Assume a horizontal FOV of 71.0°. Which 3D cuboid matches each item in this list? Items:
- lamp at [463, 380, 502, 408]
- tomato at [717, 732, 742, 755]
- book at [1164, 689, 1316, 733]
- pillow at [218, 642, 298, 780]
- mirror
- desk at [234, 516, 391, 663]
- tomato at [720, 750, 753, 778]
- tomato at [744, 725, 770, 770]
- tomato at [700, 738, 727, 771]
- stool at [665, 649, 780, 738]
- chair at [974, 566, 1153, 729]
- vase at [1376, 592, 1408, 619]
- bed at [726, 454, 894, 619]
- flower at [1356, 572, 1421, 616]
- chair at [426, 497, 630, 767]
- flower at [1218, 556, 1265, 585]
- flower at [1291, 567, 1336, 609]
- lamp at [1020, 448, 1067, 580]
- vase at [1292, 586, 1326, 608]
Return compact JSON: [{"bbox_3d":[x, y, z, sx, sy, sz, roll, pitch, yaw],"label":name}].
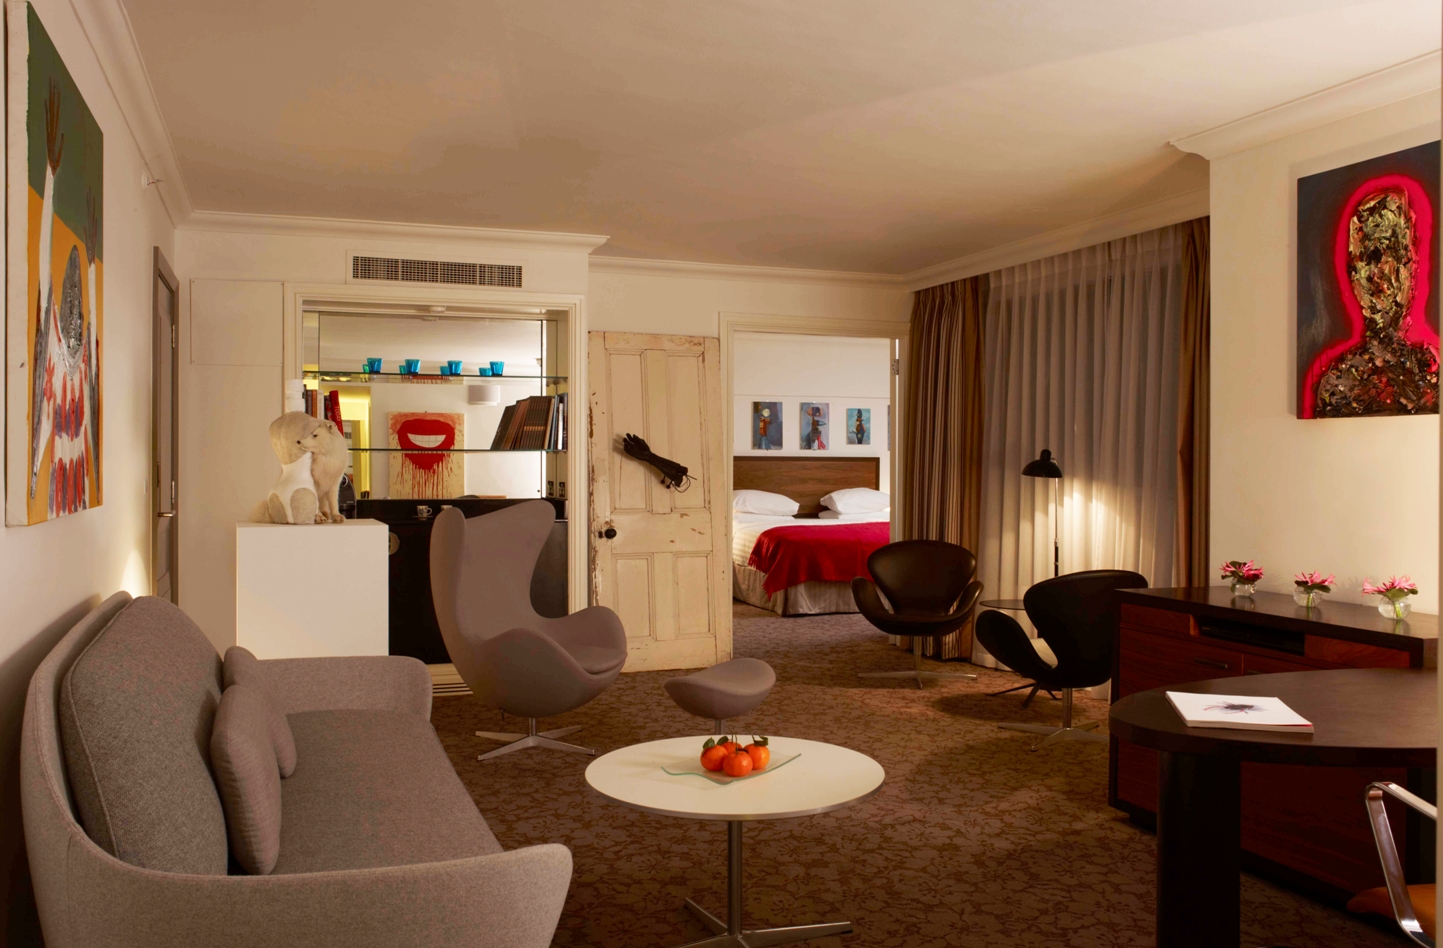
[{"bbox_3d":[-1.698,-0.567,7.210,0.202,0.119,0.194,1,-2,-10],"label":"lamp"},{"bbox_3d":[0.034,1.007,3.837,0.049,0.061,0.048,-4,-7,21],"label":"tomato"},{"bbox_3d":[1.614,0.733,3.182,0.376,0.016,0.346,1,7,7],"label":"book"},{"bbox_3d":[-1.613,0.846,3.592,0.134,0.395,0.425,-15,13,-12],"label":"pillow"},{"bbox_3d":[-2.074,-0.485,6.912,1.408,1.114,0.182,0,5,-9],"label":"mirror"},{"bbox_3d":[-1.946,0.516,4.937,0.731,0.650,0.674,0,0,-8],"label":"desk"},{"bbox_3d":[0.053,1.065,3.778,0.098,0.091,0.094,-5,-1,2],"label":"tomato"},{"bbox_3d":[0.152,1.050,3.860,0.100,0.131,0.098,-3,2,-11],"label":"tomato"},{"bbox_3d":[-0.035,1.037,3.793,0.108,0.099,0.104,-2,0,-5],"label":"tomato"},{"bbox_3d":[0.022,1.147,4.926,0.441,0.457,0.403,15,16,31],"label":"stool"},{"bbox_3d":[2.108,0.918,5.870,1.075,0.997,0.900,1,-1,-27],"label":"chair"},{"bbox_3d":[2.758,0.533,4.165,0.102,0.103,0.102,-2,4,-40],"label":"vase"},{"bbox_3d":[0.792,0.563,10.131,1.524,0.837,1.668,-1,1,-11],"label":"bed"},{"bbox_3d":[2.775,0.475,4.207,0.196,0.130,0.196,-3,3,43],"label":"flower"},{"bbox_3d":[-1.190,0.829,5.908,1.322,1.477,1.355,0,-3,17],"label":"chair"},{"bbox_3d":[2.398,0.441,4.640,0.179,0.097,0.169,-8,6,-34],"label":"flower"},{"bbox_3d":[2.581,0.494,4.428,0.191,0.169,0.185,2,0,-25],"label":"flower"},{"bbox_3d":[2.167,0.249,6.810,0.261,0.864,0.625,3,8,19],"label":"lamp"},{"bbox_3d":[2.554,0.523,4.383,0.118,0.056,0.108,-1,4,-26],"label":"vase"}]
